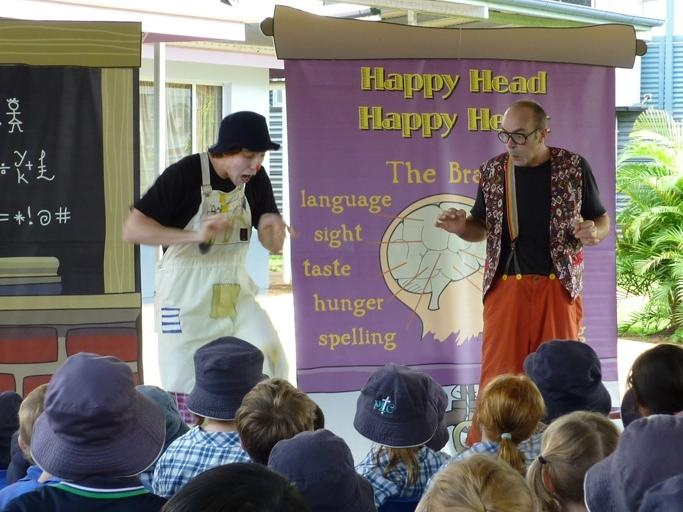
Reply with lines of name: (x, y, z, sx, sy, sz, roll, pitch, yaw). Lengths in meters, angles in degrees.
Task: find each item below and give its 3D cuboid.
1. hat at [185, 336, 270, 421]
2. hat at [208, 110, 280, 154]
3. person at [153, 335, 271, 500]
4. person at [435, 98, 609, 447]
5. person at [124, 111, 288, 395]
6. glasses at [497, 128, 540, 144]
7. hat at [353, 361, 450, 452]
hat: (-0.624, 0.622, 5.085, 0.490, 0.319, 0.476, -8, 23, -23)
hat: (-0.616, -0.777, 5.778, 0.470, 0.284, 0.558, 0, 12, 9)
person: (-0.660, 0.882, 5.053, 0.659, 0.894, 0.486, 6, 2, 17)
person: (1.269, 0.271, 6.288, 1.010, 2.544, 0.821, -1, 10, 6)
person: (-0.839, 0.172, 5.866, 0.944, 2.130, 0.771, -3, 11, -11)
glasses: (1.170, -0.783, 6.075, 0.242, 0.112, 0.069, 0, 0, 8)
hat: (0.311, 0.699, 4.945, 0.527, 0.282, 0.589, 5, 23, 13)
